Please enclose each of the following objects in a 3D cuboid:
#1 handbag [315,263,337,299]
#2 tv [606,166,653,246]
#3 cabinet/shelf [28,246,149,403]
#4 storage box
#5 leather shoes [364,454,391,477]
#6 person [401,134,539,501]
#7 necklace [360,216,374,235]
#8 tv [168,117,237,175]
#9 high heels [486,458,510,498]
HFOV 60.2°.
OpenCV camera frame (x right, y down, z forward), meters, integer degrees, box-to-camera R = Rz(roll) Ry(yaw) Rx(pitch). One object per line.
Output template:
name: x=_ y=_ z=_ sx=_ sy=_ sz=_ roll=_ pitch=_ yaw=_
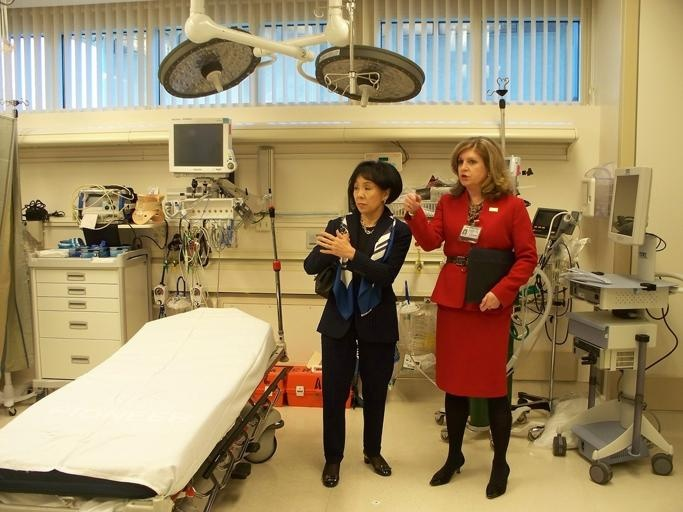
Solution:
handbag: x=-0.089 y=0.140 z=3.546 sx=0.079 sy=0.202 sz=0.159 roll=22 pitch=-14 yaw=-5
tv: x=1.887 y=-0.326 z=3.841 sx=0.149 sy=0.492 sz=0.326 roll=-1 pitch=8 yaw=1
cabinet/shelf: x=-1.969 y=0.541 z=4.936 sx=0.980 sy=1.477 sz=0.990 roll=0 pitch=1 yaw=3
storage box: x=-0.318 y=1.029 z=4.564 sx=0.543 sy=0.218 sz=0.443 roll=2 pitch=1 yaw=3
leather shoes: x=0.223 y=1.322 z=3.751 sx=0.080 sy=0.086 sz=0.199 roll=-2 pitch=-1 yaw=-39
person: x=0.788 y=0.365 z=3.540 sx=0.722 sy=2.119 sz=0.317 roll=1 pitch=8 yaw=19
necklace: x=0.160 y=-0.185 z=3.592 sx=0.062 sy=0.092 sz=0.025 roll=16 pitch=-6 yaw=9
tv: x=-1.093 y=-0.854 z=4.604 sx=0.416 sy=0.385 sz=0.186 roll=0 pitch=0 yaw=2
high heels: x=0.947 y=1.330 z=3.548 sx=0.088 sy=0.193 sz=0.265 roll=-2 pitch=5 yaw=28
